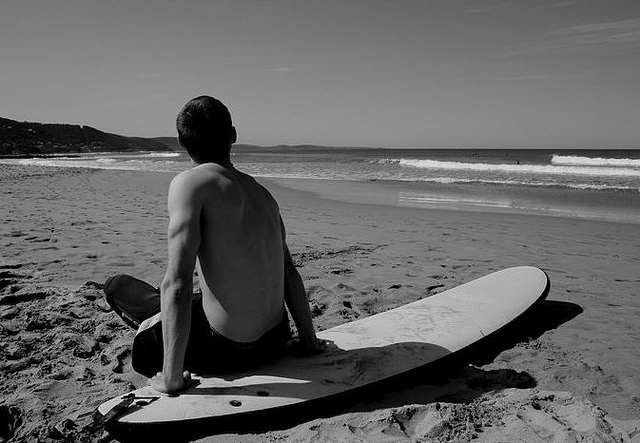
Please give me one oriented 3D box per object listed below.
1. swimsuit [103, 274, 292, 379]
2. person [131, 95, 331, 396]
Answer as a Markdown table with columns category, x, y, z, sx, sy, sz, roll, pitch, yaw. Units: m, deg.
| category | x | y | z | sx | sy | sz | roll | pitch | yaw |
| --- | --- | --- | --- | --- | --- | --- | --- | --- | --- |
| swimsuit | -0.904 | 0.668 | 2.989 | 1.298 | 0.545 | 0.583 | 5 | 11 | 23 |
| person | -0.571 | 0.128 | 2.730 | 1.160 | 1.710 | 0.643 | 1 | 10 | 0 |
